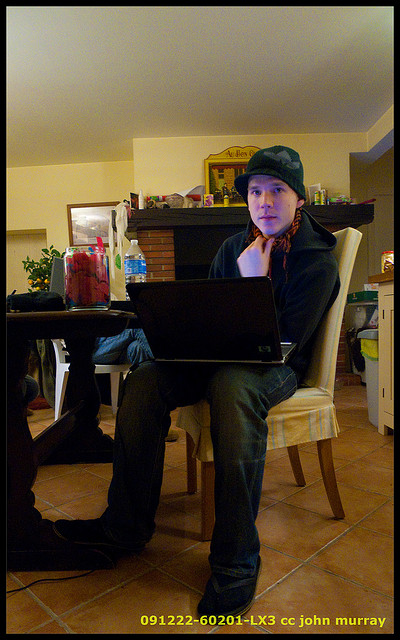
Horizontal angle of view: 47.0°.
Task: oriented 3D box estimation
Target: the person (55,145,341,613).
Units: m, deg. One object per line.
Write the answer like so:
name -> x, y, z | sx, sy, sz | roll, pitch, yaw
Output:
person -> 0.054, 0.038, 1.178 | 0.515, 1.026, 0.607 | -2, -1, 32

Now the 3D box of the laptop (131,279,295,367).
laptop -> 0.022, 0.001, 0.943 | 0.263, 0.197, 0.208 | 0, 46, 14

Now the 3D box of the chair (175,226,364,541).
chair -> 0.186, 0.158, 1.378 | 0.457, 0.814, 0.480 | 2, -1, -12
